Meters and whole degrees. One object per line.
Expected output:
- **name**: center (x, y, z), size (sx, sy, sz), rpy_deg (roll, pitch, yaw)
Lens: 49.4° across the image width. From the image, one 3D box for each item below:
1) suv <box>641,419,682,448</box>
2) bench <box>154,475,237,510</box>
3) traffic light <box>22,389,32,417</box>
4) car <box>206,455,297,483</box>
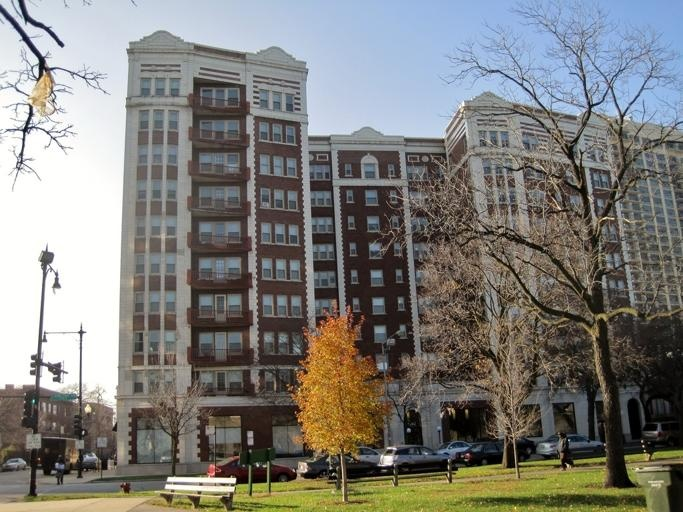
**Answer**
- **suv**: center (27.260, 15.167, 63.226), size (2.924, 2.024, 1.656), rpy_deg (-6, -16, 13)
- **bench**: center (-6.192, 10.212, 31.839), size (4.897, 1.438, 1.000), rpy_deg (-17, -28, 39)
- **traffic light**: center (-18.388, 8.660, 43.585), size (0.394, 1.499, 0.647), rpy_deg (-1, -16, -7)
- **car**: center (-5.584, 13.292, 46.145), size (6.010, 1.622, 2.422), rpy_deg (10, -20, -39)
